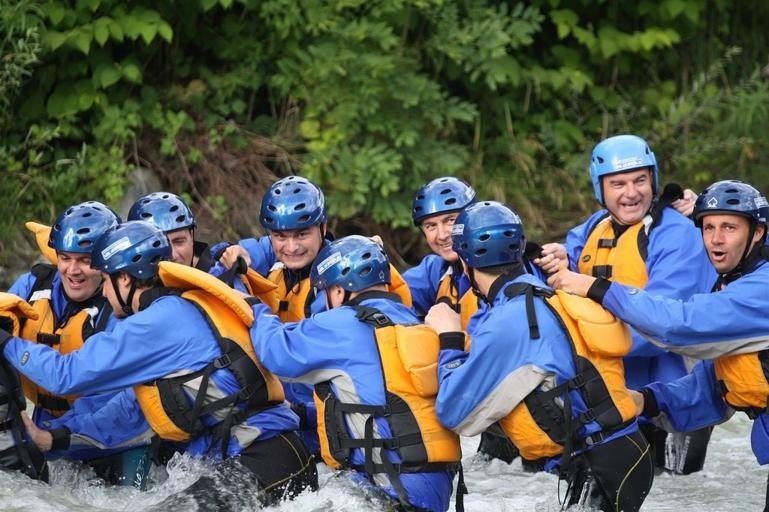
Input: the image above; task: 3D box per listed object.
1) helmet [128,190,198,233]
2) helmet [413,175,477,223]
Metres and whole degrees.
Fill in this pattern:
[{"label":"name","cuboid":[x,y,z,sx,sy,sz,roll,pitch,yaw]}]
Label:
[{"label":"helmet","cuboid":[-2.568,-0.467,13.788,0.450,0.604,0.616,-8,-12,-36]},{"label":"helmet","cuboid":[0.647,-0.662,13.692,0.450,0.661,0.497,-1,12,12]}]
